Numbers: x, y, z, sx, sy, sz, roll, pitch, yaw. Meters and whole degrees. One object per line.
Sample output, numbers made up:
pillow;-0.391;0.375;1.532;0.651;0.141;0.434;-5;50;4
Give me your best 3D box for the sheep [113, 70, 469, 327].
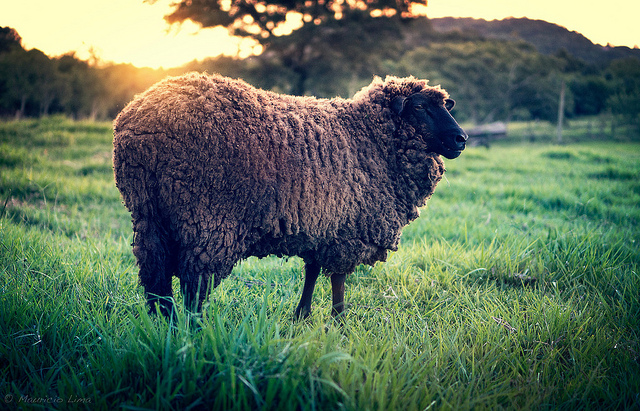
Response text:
sheep;-0.921;-0.514;8.945;4.927;3.509;2.324;-3;8;-16
